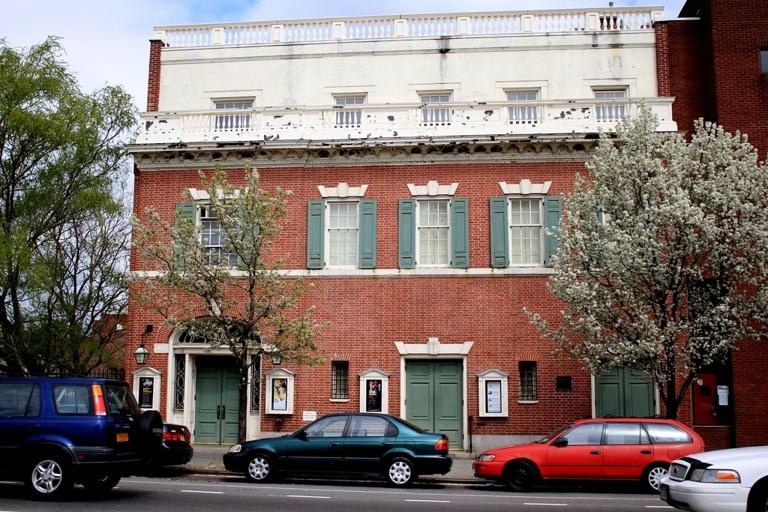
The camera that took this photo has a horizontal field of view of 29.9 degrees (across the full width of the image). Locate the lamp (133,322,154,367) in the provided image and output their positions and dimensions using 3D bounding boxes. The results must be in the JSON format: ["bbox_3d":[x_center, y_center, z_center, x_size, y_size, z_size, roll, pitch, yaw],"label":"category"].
[{"bbox_3d":[-8.838,3.247,53.049,0.662,1.544,1.362,0,-10,-4],"label":"lamp"}]
